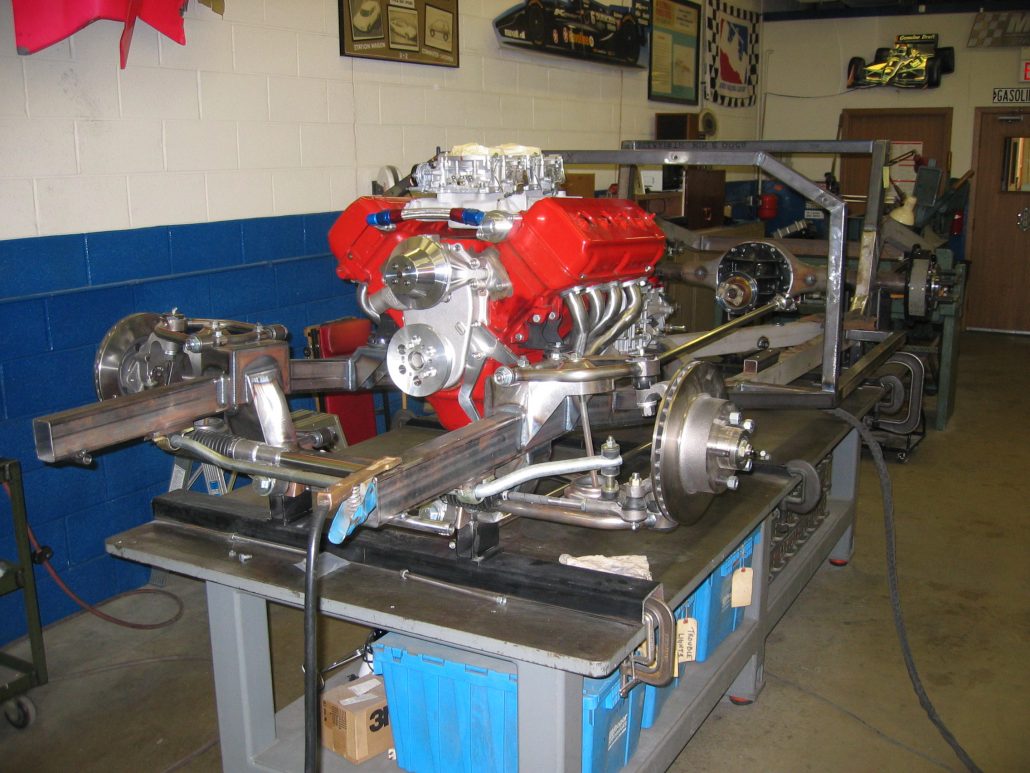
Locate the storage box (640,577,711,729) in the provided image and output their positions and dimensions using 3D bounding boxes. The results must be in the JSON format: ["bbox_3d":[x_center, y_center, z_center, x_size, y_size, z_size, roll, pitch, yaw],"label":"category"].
[{"bbox_3d":[0.435,0.804,2.547,0.191,0.385,0.221,10,15,18],"label":"storage box"}]

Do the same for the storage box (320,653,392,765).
[{"bbox_3d":[-0.474,1.005,2.641,0.194,0.125,0.192,-17,23,-40],"label":"storage box"}]
